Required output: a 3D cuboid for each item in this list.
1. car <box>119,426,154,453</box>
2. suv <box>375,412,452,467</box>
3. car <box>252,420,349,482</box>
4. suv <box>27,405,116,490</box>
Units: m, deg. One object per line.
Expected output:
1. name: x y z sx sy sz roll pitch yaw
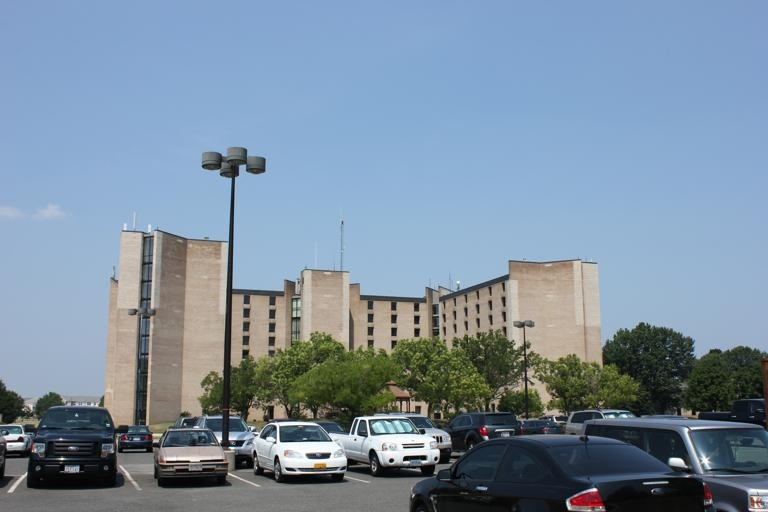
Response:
1. car: -16.428 12.100 71.345 2.154 1.632 2.331 2 -12 -13
2. suv: -0.092 9.793 57.245 3.974 2.512 7.383 1 -4 -24
3. car: -4.393 9.688 54.052 3.102 2.368 7.407 3 -8 -22
4. suv: -15.183 9.278 52.813 4.055 3.926 2.011 2 -12 -13
